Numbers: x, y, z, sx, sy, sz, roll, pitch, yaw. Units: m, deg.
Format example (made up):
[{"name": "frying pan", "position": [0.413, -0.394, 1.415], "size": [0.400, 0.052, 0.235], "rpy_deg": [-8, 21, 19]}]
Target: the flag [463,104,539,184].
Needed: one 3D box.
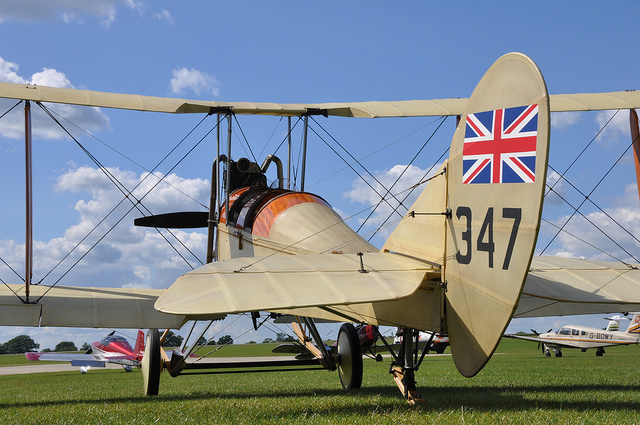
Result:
[{"name": "flag", "position": [3.626, -1.295, 15.873], "size": [1.747, 1.649, 0.173], "rpy_deg": [-13, -18, 39]}]
